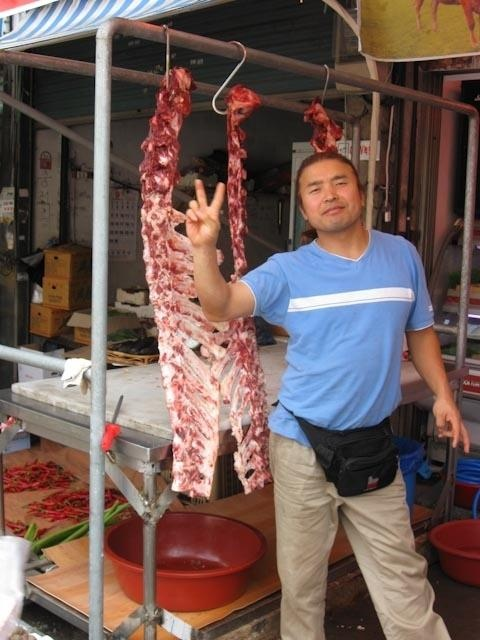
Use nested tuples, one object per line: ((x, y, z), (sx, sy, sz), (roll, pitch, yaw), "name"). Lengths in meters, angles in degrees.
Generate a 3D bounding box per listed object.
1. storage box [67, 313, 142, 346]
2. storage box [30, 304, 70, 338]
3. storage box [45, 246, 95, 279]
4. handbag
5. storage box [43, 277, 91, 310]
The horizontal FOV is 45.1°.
((-1.476, 0.041, 6.341), (0.661, 0.271, 0.631), (-5, 8, -32), "storage box")
((-2.384, 0.002, 7.032), (0.468, 0.313, 0.462), (14, 6, 39), "storage box")
((-2.103, -0.670, 6.955), (0.541, 0.366, 0.392), (-1, 2, -10), "storage box")
((0.313, 0.407, 2.022), (0.385, 0.188, 0.453), (-1, 20, -35), "handbag")
((-2.104, -0.317, 6.991), (0.450, 0.243, 0.437), (3, 3, 31), "storage box")
